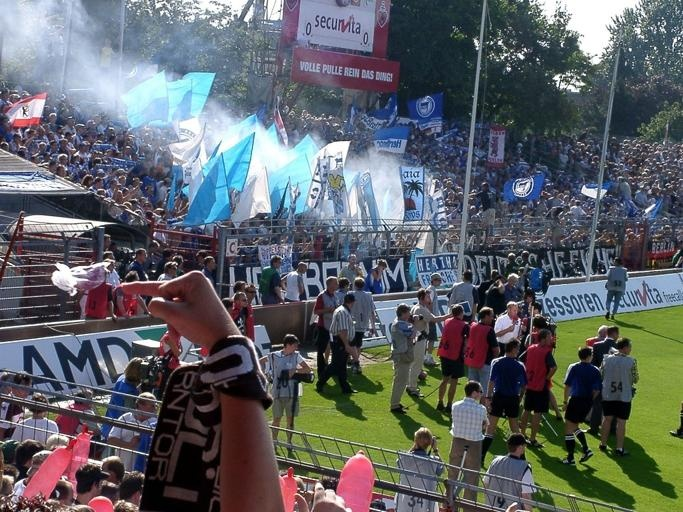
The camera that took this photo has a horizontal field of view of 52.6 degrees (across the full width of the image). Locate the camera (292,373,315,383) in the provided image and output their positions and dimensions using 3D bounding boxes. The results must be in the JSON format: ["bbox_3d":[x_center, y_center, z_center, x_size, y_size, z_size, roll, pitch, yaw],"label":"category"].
[{"bbox_3d":[-0.616,1.944,11.192,0.413,0.142,0.180,-2,-9,34],"label":"camera"}]

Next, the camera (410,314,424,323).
[{"bbox_3d":[1.529,1.278,14.116,0.135,0.113,0.232,-4,0,-20],"label":"camera"}]

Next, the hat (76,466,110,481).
[{"bbox_3d":[-2.400,2.093,6.677,0.303,0.131,0.192,2,-1,-26],"label":"hat"}]
